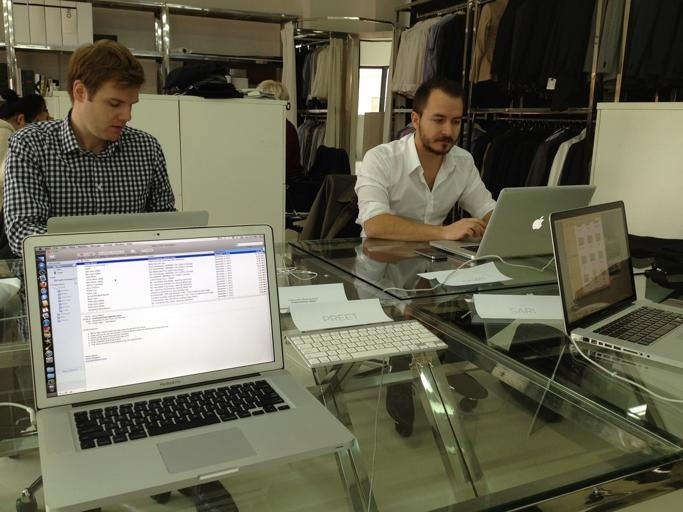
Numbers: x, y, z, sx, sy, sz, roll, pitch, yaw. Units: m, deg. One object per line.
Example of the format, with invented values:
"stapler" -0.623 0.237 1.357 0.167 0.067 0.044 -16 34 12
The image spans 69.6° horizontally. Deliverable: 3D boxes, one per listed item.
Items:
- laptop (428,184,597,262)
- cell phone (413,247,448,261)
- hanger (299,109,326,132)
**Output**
"laptop" 0.629 -0.122 1.971 0.553 0.288 0.447 -4 8 -32
"cell phone" 0.354 -0.009 1.944 0.122 0.021 0.213 -4 13 -20
"hanger" -0.418 -1.911 6.877 0.591 0.222 0.178 14 27 37
